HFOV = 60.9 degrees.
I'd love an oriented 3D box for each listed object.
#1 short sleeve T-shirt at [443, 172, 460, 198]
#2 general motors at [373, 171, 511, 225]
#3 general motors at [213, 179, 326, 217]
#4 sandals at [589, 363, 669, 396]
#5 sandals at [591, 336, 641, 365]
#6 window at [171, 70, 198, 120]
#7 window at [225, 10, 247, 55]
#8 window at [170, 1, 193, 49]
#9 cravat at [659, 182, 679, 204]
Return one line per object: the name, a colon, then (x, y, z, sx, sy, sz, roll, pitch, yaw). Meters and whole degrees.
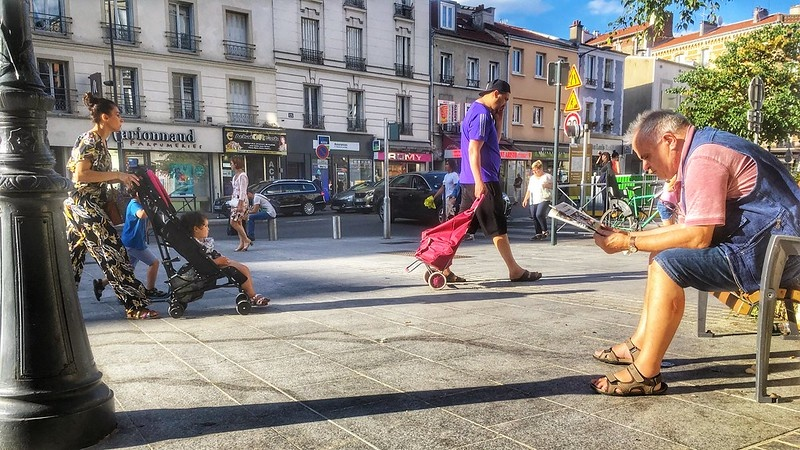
short sleeve T-shirt: (1.352, -1.053, 17.877, 0.465, 0.714, 0.788, -5, 4, -13)
general motors: (1.061, -1.004, 21.942, 2.014, 1.415, 4.476, -16, 12, -38)
general motors: (-4.795, -1.109, 27.479, 3.984, 1.231, 1.692, 0, 2, -32)
sandals: (2.345, 1.562, 6.995, 0.689, 0.240, 0.310, 1, -1, 4)
sandals: (2.356, 1.385, 7.408, 0.487, 0.181, 0.206, 1, 4, 6)
window: (-9.887, -5.867, 31.019, 1.304, 2.140, 0.189, -4, 3, -38)
window: (-7.824, -9.112, 32.539, 1.090, 2.054, 0.340, -8, 7, -44)
window: (-9.921, -9.043, 30.846, 1.007, 2.053, 0.327, -8, 7, -44)
cravat: (3.024, -0.365, 7.633, 0.103, 0.228, 0.241, 5, 3, -7)
